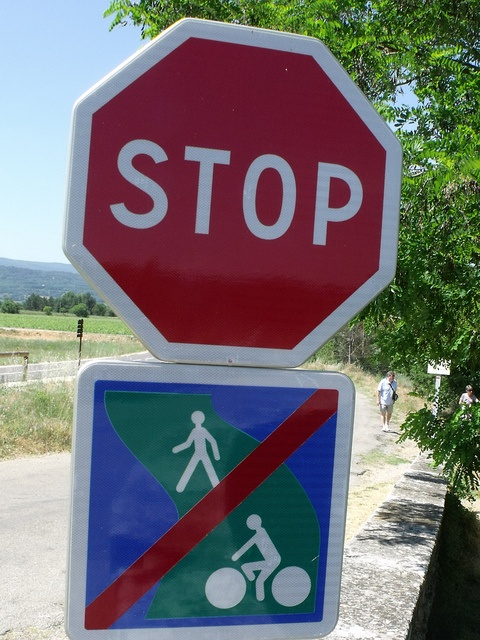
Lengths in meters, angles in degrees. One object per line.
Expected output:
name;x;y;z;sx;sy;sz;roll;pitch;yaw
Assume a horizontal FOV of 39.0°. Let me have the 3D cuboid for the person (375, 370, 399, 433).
person;3.621;1.980;16.706;0.435;1.453;2.257;-3;-6;12
